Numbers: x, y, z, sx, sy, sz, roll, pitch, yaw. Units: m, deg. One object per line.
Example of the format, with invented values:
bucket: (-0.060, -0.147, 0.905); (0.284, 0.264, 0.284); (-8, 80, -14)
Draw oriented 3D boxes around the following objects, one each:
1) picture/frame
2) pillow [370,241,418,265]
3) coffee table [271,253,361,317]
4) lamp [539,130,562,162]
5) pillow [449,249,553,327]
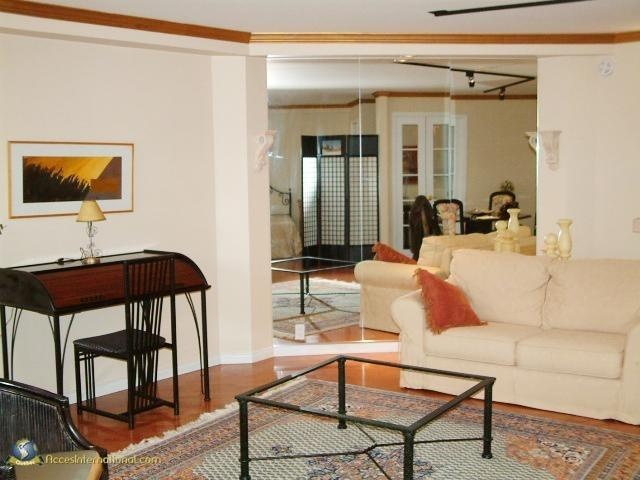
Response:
picture/frame: (-2.046, -0.487, 4.412); (0.784, 0.394, 0.016); (-7, 13, -40)
pillow: (0.767, 0.143, 5.691); (0.420, 0.208, 0.148); (18, -35, -12)
coffee table: (-0.098, 0.426, 5.545); (0.630, 0.348, 0.636); (-6, 8, -42)
lamp: (2.399, -0.962, 5.722); (0.209, 0.354, 0.185); (1, 6, 19)
pillow: (1.543, 0.407, 4.660); (0.829, 0.564, 0.194); (4, -1, 30)
